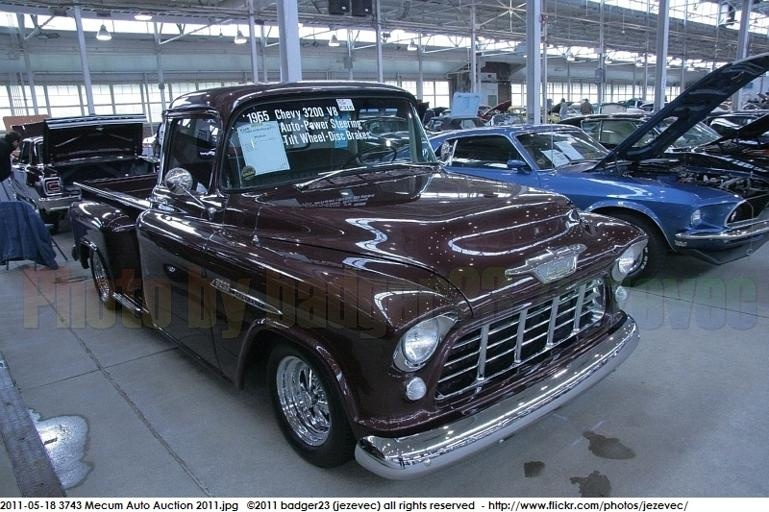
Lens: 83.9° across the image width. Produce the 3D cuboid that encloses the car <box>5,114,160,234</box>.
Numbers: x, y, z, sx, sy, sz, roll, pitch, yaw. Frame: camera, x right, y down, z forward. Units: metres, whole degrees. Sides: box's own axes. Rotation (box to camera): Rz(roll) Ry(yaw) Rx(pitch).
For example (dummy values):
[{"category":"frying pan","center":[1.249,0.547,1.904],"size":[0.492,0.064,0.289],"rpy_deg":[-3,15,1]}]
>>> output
[{"category":"car","center":[-6.401,-1.918,9.050],"size":[2.500,1.412,3.742],"rpy_deg":[-13,23,-36]}]

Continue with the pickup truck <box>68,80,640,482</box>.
[{"category":"pickup truck","center":[-0.866,-0.500,4.247],"size":[5.385,1.775,2.898],"rpy_deg":[19,29,41]}]
